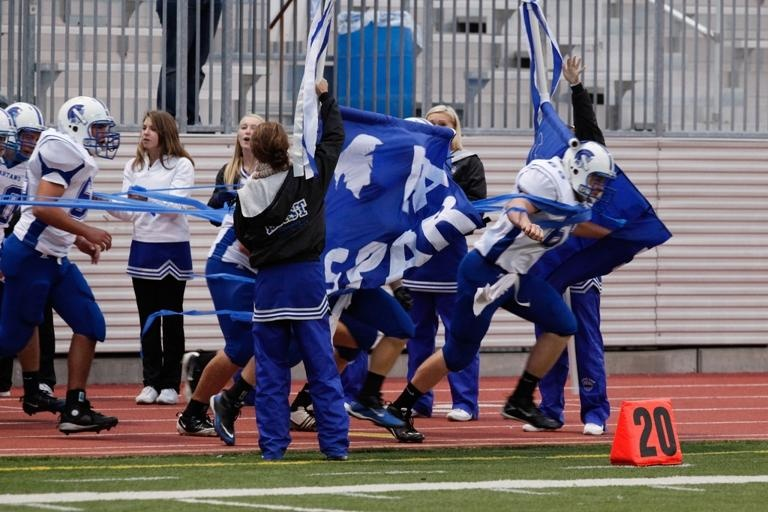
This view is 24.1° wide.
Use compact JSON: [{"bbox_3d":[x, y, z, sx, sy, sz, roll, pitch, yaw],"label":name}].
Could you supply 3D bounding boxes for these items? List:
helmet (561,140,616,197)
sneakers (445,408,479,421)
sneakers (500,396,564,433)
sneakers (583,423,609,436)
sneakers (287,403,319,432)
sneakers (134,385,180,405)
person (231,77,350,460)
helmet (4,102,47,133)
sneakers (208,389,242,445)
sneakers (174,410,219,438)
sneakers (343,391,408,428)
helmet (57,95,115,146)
[{"bbox_3d":[1.714,-0.770,15.750,0.606,0.431,0.448,12,8,11],"label":"helmet"},{"bbox_3d":[0.701,1.513,17.029,0.287,0.092,0.105,9,-11,-38],"label":"sneakers"},{"bbox_3d":[1.287,1.427,16.145,0.669,0.224,0.211,13,-2,-11],"label":"sneakers"},{"bbox_3d":[1.868,1.568,16.201,0.090,0.080,0.209,-5,-14,31],"label":"sneakers"},{"bbox_3d":[-0.770,1.477,16.345,0.323,0.255,0.315,9,-6,-33],"label":"sneakers"},{"bbox_3d":[-2.269,1.371,17.662,0.348,0.113,0.195,13,-17,-41],"label":"sneakers"},{"bbox_3d":[-0.795,0.114,14.910,0.986,3.110,0.477,1,5,-4],"label":"person"},{"bbox_3d":[-3.256,-1.247,16.215,0.386,0.253,0.248,0,12,3],"label":"helmet"},{"bbox_3d":[-1.369,1.389,15.522,0.290,0.487,0.196,-20,-14,15],"label":"sneakers"},{"bbox_3d":[-1.725,1.485,15.756,0.478,0.163,0.152,4,9,-9],"label":"sneakers"},{"bbox_3d":[-0.130,1.370,15.881,0.649,0.218,0.206,18,-6,-1],"label":"sneakers"},{"bbox_3d":[-2.700,-1.197,15.835,0.559,0.352,0.382,-4,11,-8],"label":"helmet"}]
